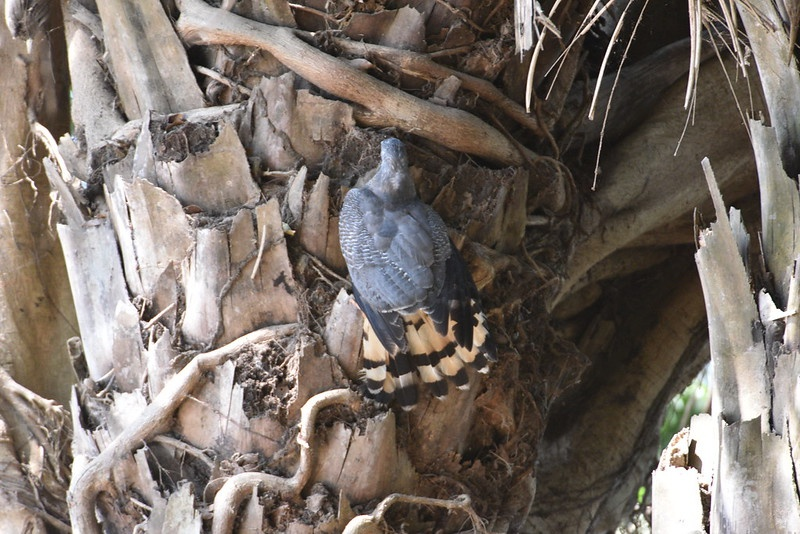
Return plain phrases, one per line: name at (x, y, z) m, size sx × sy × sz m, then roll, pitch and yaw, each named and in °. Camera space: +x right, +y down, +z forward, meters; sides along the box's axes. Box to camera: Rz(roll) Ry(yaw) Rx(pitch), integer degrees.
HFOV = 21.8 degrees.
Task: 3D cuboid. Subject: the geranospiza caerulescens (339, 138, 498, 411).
geranospiza caerulescens at (0.043, 0.064, 14.325) m, size 0.839 × 1.016 × 1.700 m, roll -10°, pitch 43°, yaw -8°
